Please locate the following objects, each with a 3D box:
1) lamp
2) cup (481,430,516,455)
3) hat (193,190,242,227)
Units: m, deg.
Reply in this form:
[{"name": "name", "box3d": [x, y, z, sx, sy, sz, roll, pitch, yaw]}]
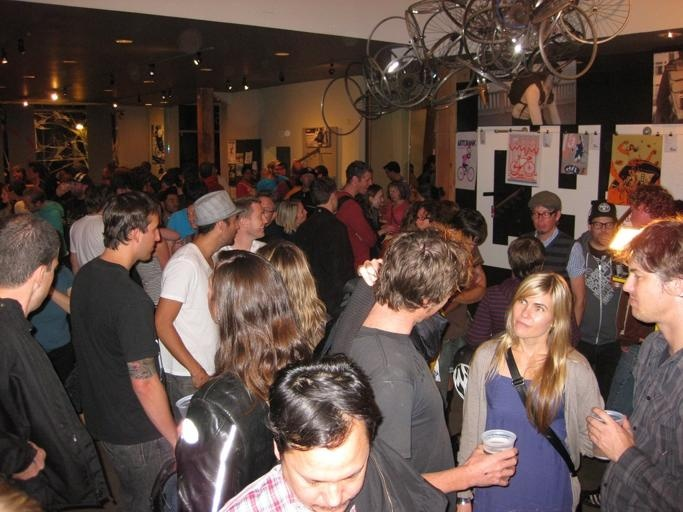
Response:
[{"name": "lamp", "box3d": [-2.998, -3.819, 10.844, 2.241, 0.580, 2.118, -4, -3, -19]}, {"name": "cup", "box3d": [0.648, 0.775, 2.143, 0.129, 0.074, 0.131, -3, 8, 0]}, {"name": "hat", "box3d": [-0.768, -0.264, 3.221, 0.234, 0.111, 0.204, -33, 28, -29]}]
